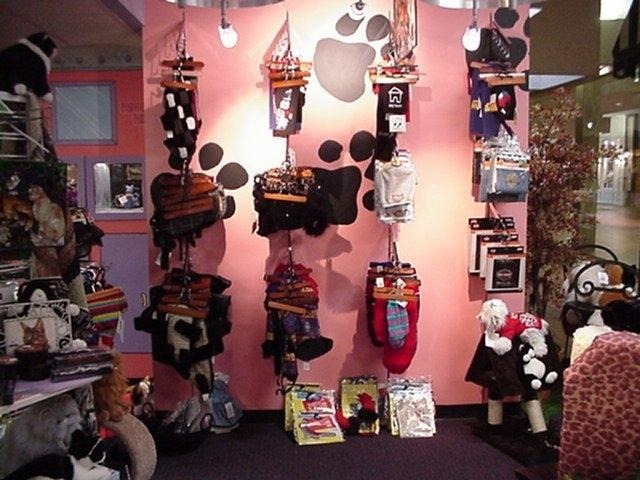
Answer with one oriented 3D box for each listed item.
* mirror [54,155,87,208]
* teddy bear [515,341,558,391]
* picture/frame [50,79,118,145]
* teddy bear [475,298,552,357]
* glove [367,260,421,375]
[{"bbox_3d":[-1.955,-0.487,4.038,0.207,0.446,1.286,-2,5,-25],"label":"mirror"},{"bbox_3d":[1.744,1.009,4.049,0.308,0.352,0.185,1,4,16],"label":"teddy bear"},{"bbox_3d":[-2.102,-1.153,4.505,0.681,0.812,0.054,-1,6,-9],"label":"picture/frame"},{"bbox_3d":[1.614,0.699,4.237,0.516,0.412,0.481,-2,8,18],"label":"teddy bear"},{"bbox_3d":[0.620,0.631,4.386,0.501,0.945,0.288,1,0,17],"label":"glove"}]
